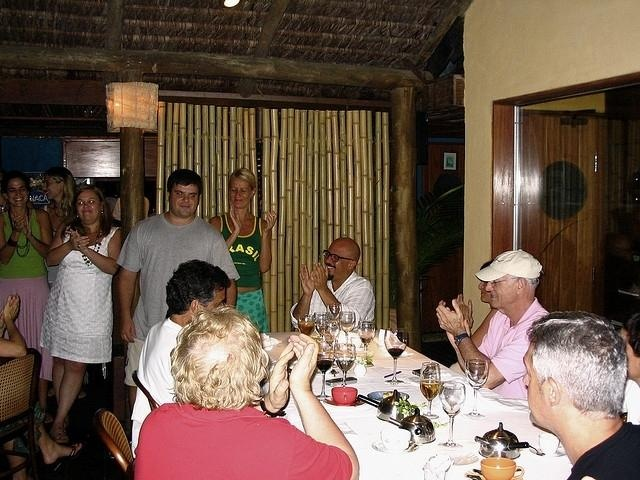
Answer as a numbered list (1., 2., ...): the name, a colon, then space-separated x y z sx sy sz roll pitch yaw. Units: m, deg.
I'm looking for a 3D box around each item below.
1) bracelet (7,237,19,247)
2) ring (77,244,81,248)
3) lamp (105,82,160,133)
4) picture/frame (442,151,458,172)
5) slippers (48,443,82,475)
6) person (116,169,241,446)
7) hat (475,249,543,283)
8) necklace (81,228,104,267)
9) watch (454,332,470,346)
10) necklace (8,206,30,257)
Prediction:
1. bracelet: -2.487 0.005 4.068 0.052 0.045 0.056 4 4 -12
2. ring: -1.743 0.038 3.629 0.018 0.024 0.006 0 13 -2
3. lamp: -1.517 -1.033 4.194 0.362 0.435 0.384 1 2 4
4. picture/frame: 1.775 -1.084 6.949 0.247 0.384 0.029 0 -1 -13
5. slippers: -1.789 1.494 3.539 0.083 0.125 0.296 10 4 -7
6. person: -1.092 0.560 3.647 0.800 2.190 0.533 9 23 -13
7. hat: 1.111 0.132 2.897 0.231 0.166 0.359 0 10 -23
8. necklace: -1.697 0.054 3.731 0.133 0.207 0.047 -7 -25 6
9. watch: 0.783 0.534 2.820 0.073 0.055 0.082 37 -3 4
10. necklace: -2.455 -0.059 4.119 0.171 0.371 0.177 -3 10 -33
